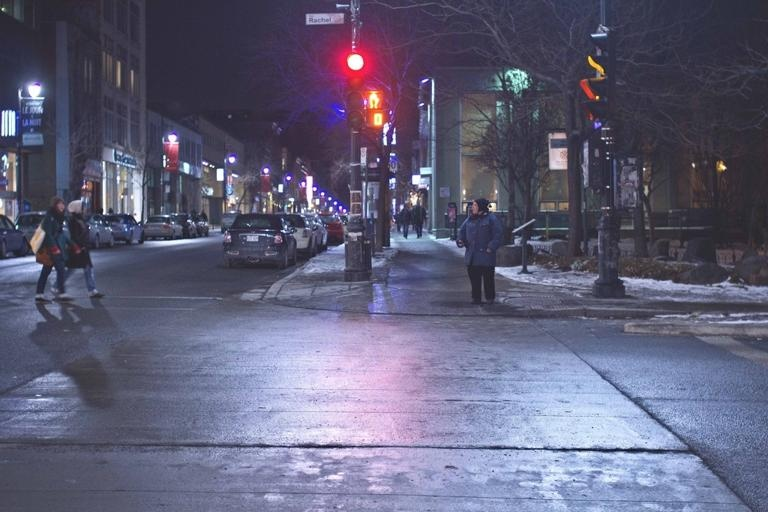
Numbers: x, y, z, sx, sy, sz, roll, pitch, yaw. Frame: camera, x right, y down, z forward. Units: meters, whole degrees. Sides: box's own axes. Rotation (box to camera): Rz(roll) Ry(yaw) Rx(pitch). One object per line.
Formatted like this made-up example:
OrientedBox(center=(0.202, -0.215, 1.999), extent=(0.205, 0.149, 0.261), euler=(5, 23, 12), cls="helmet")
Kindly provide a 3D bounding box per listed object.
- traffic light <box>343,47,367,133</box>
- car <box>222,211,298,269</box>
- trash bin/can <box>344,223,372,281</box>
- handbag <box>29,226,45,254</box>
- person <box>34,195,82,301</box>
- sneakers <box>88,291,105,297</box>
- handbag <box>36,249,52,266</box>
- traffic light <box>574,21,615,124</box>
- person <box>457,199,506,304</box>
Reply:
OrientedBox(center=(-0.743, -4.412, 23.550), extent=(0.526, 2.179, 0.648), euler=(-1, 5, -2), cls="traffic light")
OrientedBox(center=(-4.121, -0.507, 29.917), extent=(1.967, 1.877, 2.515), euler=(0, 5, 11), cls="car")
OrientedBox(center=(-0.669, -0.143, 23.576), extent=(0.742, 1.593, 0.605), euler=(-3, 5, -21), cls="trash bin/can")
OrientedBox(center=(-7.639, -0.378, 19.519), extent=(0.304, 0.644, 0.708), euler=(-3, 5, -22), cls="handbag")
OrientedBox(center=(-7.456, -0.160, 19.736), extent=(0.764, 2.251, 0.952), euler=(-3, 5, -21), cls="person")
OrientedBox(center=(-6.473, 0.858, 19.929), extent=(0.340, 0.155, 0.132), euler=(0, 4, 7), cls="sneakers")
OrientedBox(center=(-7.442, 0.012, 19.352), extent=(0.328, 0.345, 0.133), euler=(0, 0, 8), cls="handbag")
OrientedBox(center=(4.767, -3.958, 19.646), extent=(0.612, 2.249, 0.531), euler=(3, -3, 23), cls="traffic light")
OrientedBox(center=(2.103, -0.100, 18.951), extent=(0.886, 2.243, 1.490), euler=(-1, 5, 5), cls="person")
